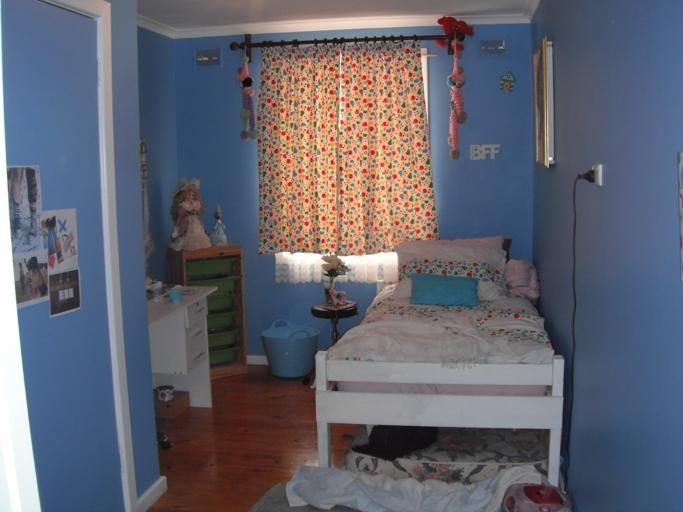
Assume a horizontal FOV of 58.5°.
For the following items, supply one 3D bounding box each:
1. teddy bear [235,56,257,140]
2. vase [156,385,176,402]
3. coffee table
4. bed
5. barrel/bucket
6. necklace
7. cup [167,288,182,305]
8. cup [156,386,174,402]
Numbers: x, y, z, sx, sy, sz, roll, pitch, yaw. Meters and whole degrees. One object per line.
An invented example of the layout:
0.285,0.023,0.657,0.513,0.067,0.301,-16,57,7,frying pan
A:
-0.765,-1.296,4.971,0.141,0.678,0.433,-2,8,-8,teddy bear
-1.221,0.949,4.209,0.082,0.077,0.108,2,8,-4,vase
-0.047,0.681,4.754,0.514,0.617,0.555,-1,1,-8,coffee table
0.725,0.903,4.118,1.278,0.873,2.112,-2,0,15,bed
-0.410,0.722,4.872,0.404,0.381,0.457,0,2,-11,barrel/bucket
0.885,-1.312,4.758,0.277,1.085,0.319,1,7,11,necklace
-1.082,0.262,3.971,0.076,0.085,0.108,-7,13,-9,cup
-1.216,0.946,4.231,0.082,0.075,0.104,6,9,23,cup
